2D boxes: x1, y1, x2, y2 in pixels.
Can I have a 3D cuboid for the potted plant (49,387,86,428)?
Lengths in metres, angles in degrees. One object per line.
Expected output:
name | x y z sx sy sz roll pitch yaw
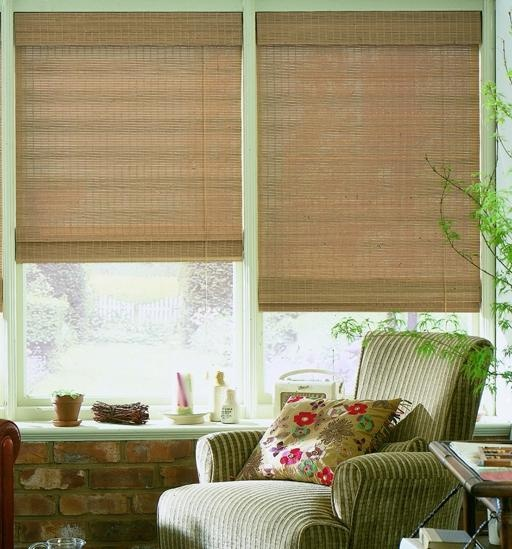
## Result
potted plant | -0.815 0.577 3.102 0.165 0.116 0.160 5 -8 -39
